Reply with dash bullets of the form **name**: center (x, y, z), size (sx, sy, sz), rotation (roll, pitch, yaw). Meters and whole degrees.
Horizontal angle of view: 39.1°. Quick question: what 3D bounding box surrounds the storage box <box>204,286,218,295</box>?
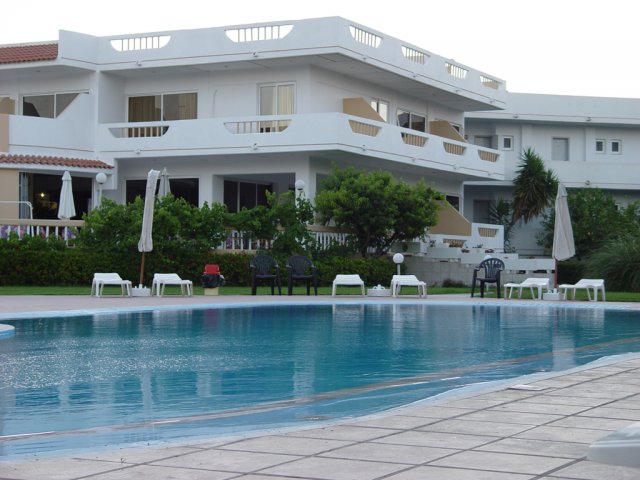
- **storage box**: center (-2.857, 1.369, 23.750), size (0.190, 0.237, 0.357), rotation (0, -2, 11)

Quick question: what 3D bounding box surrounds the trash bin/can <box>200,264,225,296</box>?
- **trash bin/can**: center (-2.931, 1.053, 23.843), size (0.735, 0.846, 0.645), rotation (-1, -2, 18)
